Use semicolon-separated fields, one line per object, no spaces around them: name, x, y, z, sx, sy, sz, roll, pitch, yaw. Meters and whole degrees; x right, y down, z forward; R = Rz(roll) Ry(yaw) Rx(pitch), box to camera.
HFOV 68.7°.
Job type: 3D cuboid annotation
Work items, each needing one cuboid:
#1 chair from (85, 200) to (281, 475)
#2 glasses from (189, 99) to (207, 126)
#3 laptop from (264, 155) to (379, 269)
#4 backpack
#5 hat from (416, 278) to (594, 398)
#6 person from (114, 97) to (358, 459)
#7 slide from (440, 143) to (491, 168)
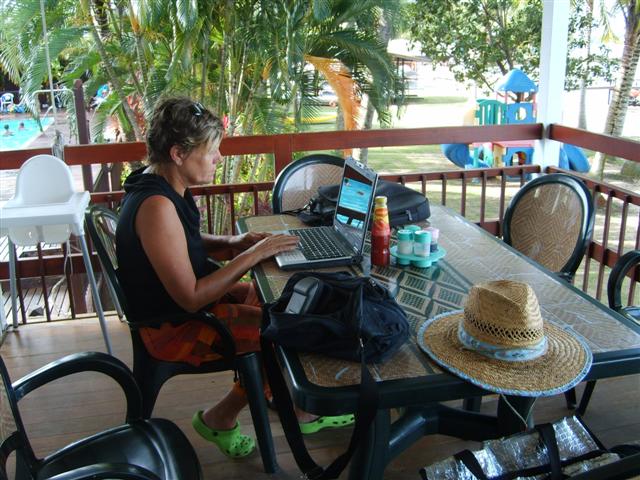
chair;-0.488;0.406;2.149;0.804;1.169;0.775;10;20;31
glasses;-0.466;-0.493;1.802;0.070;0.069;0.051;16;46;-2
laptop;0.074;-0.137;2.087;0.527;0.440;0.576;6;14;-16
backpack;0.033;0.209;1.395;0.446;0.172;0.321;8;17;31
hat;0.504;0.229;1.297;0.461;0.253;0.426;5;16;22
person;-0.560;0.115;2.236;1.149;1.455;1.030;-5;21;-27
slide;5.448;-3.136;17.745;1.436;1.009;3.077;4;15;20
